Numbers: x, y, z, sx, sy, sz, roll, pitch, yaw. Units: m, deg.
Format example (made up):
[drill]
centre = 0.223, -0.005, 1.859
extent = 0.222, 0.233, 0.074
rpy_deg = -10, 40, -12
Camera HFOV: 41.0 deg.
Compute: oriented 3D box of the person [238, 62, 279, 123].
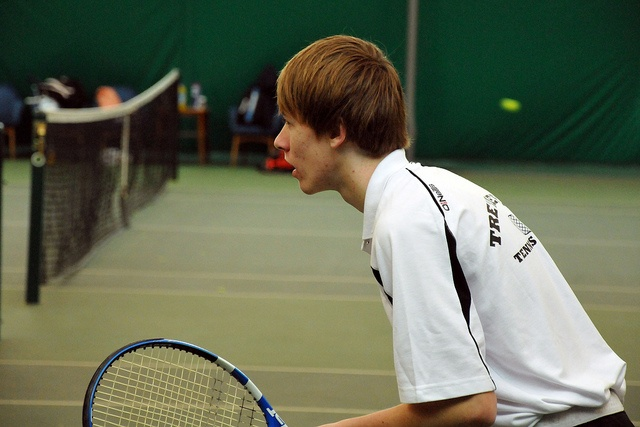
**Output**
[person]
centre = -0.949, -1.827, 13.469
extent = 0.596, 0.903, 1.087
rpy_deg = -1, 16, -20
